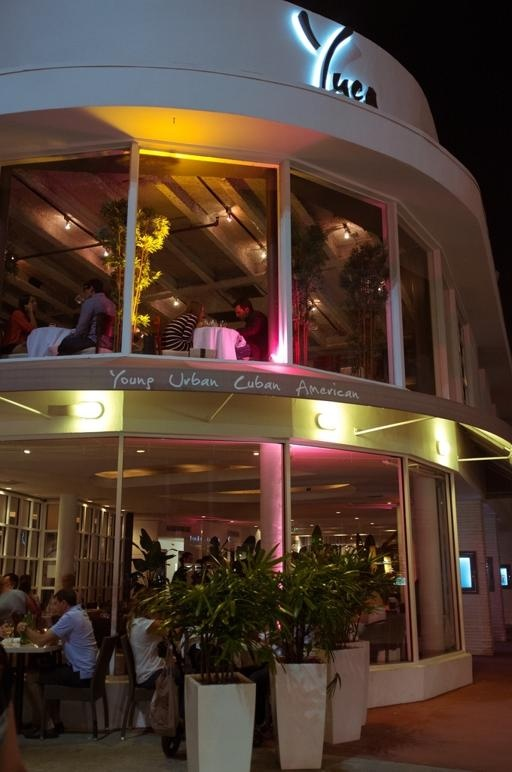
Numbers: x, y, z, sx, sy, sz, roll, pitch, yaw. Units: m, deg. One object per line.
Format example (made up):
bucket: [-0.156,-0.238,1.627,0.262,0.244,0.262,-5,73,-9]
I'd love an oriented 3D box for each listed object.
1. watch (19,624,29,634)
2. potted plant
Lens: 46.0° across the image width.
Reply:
watch: [-2.297,2.418,5.991,0.086,0.035,0.096,17,-27,43]
potted plant: [0.095,2.080,5.023,1.408,1.400,2.473,-7,-16,24]
